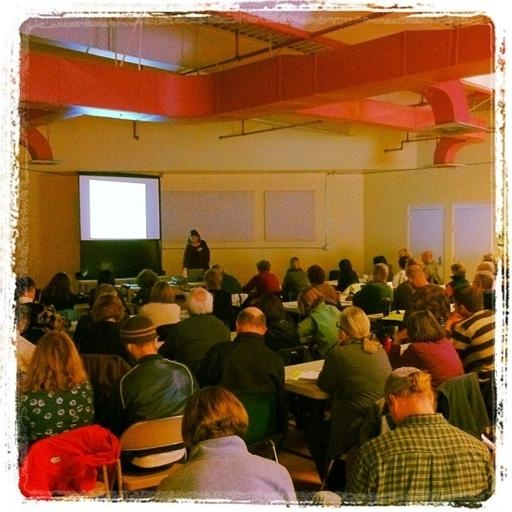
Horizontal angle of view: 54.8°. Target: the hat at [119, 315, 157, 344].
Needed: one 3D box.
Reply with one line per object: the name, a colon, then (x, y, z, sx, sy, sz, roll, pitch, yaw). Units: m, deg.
hat: (-0.666, 0.406, 2.763, 0.139, 0.110, 0.175, -8, 9, -26)
